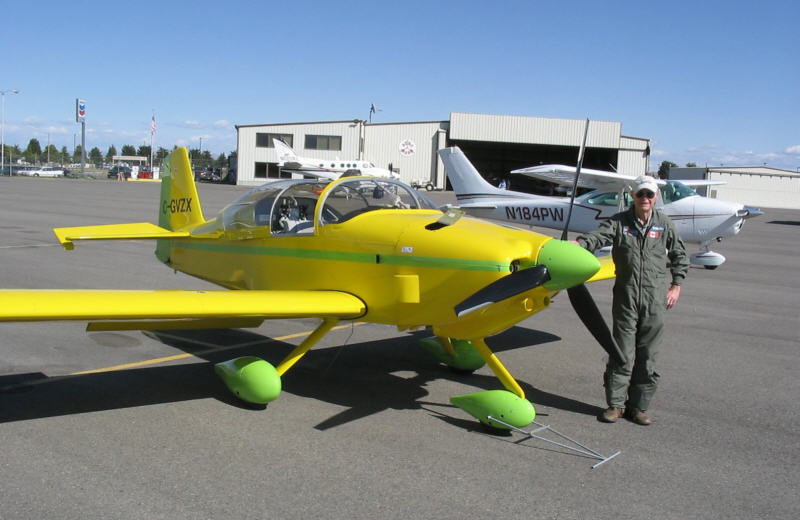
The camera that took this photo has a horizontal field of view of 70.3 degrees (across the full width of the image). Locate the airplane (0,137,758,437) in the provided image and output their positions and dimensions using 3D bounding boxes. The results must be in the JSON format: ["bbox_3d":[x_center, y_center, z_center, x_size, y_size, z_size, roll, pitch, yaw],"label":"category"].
[{"bbox_3d":[-1.107,0.134,6.187,4.901,1.460,5.025,5,8,44],"label":"airplane"}]

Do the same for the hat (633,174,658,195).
[{"bbox_3d":[2.517,-0.768,5.837,0.238,0.130,0.304,1,1,16],"label":"hat"}]

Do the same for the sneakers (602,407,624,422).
[{"bbox_3d":[2.179,1.599,5.840,0.126,0.090,0.246,-5,-11,39],"label":"sneakers"}]

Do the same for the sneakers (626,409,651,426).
[{"bbox_3d":[2.448,1.608,5.799,0.122,0.097,0.252,-2,1,-21],"label":"sneakers"}]

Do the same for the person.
[{"bbox_3d":[2.356,0.400,5.795,0.878,2.442,0.922,9,18,23],"label":"person"}]
